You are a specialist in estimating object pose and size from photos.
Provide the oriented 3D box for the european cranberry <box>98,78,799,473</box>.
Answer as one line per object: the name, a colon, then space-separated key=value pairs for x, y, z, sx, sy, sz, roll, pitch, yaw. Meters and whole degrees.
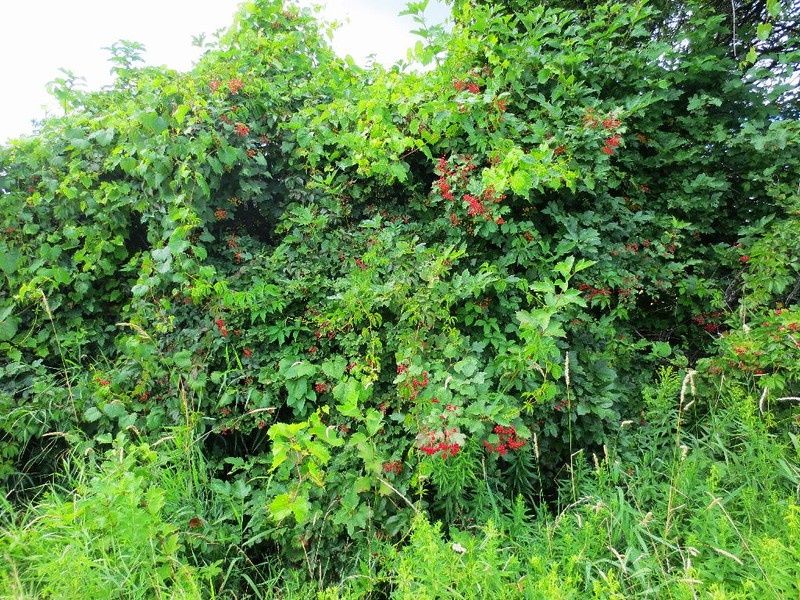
european cranberry: x=0.959 y=-0.127 z=6.335 sx=3.978 sy=2.076 sz=4.067 roll=-5 pitch=-16 yaw=15
